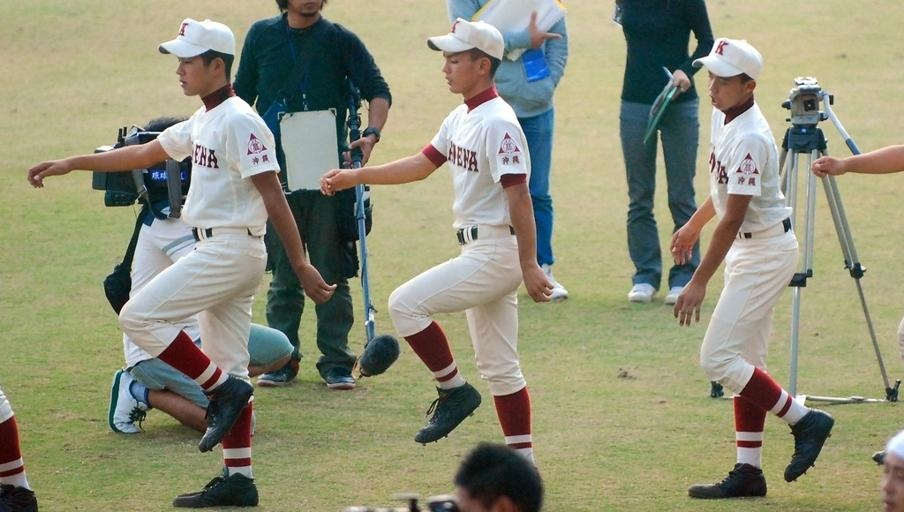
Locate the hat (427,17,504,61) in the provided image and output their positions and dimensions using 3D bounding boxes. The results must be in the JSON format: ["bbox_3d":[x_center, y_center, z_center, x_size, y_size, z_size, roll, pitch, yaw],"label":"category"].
[{"bbox_3d":[0.174,-2.048,16.228,0.768,0.196,0.385,4,6,-6],"label":"hat"}]

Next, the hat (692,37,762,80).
[{"bbox_3d":[2.664,-1.845,16.174,0.660,0.248,0.392,-2,26,-27],"label":"hat"}]

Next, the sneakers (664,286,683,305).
[{"bbox_3d":[2.436,0.440,18.804,0.192,0.133,0.425,-1,0,8],"label":"sneakers"}]

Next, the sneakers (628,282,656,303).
[{"bbox_3d":[2.135,0.415,19.117,0.332,0.171,0.593,0,-1,8],"label":"sneakers"}]
